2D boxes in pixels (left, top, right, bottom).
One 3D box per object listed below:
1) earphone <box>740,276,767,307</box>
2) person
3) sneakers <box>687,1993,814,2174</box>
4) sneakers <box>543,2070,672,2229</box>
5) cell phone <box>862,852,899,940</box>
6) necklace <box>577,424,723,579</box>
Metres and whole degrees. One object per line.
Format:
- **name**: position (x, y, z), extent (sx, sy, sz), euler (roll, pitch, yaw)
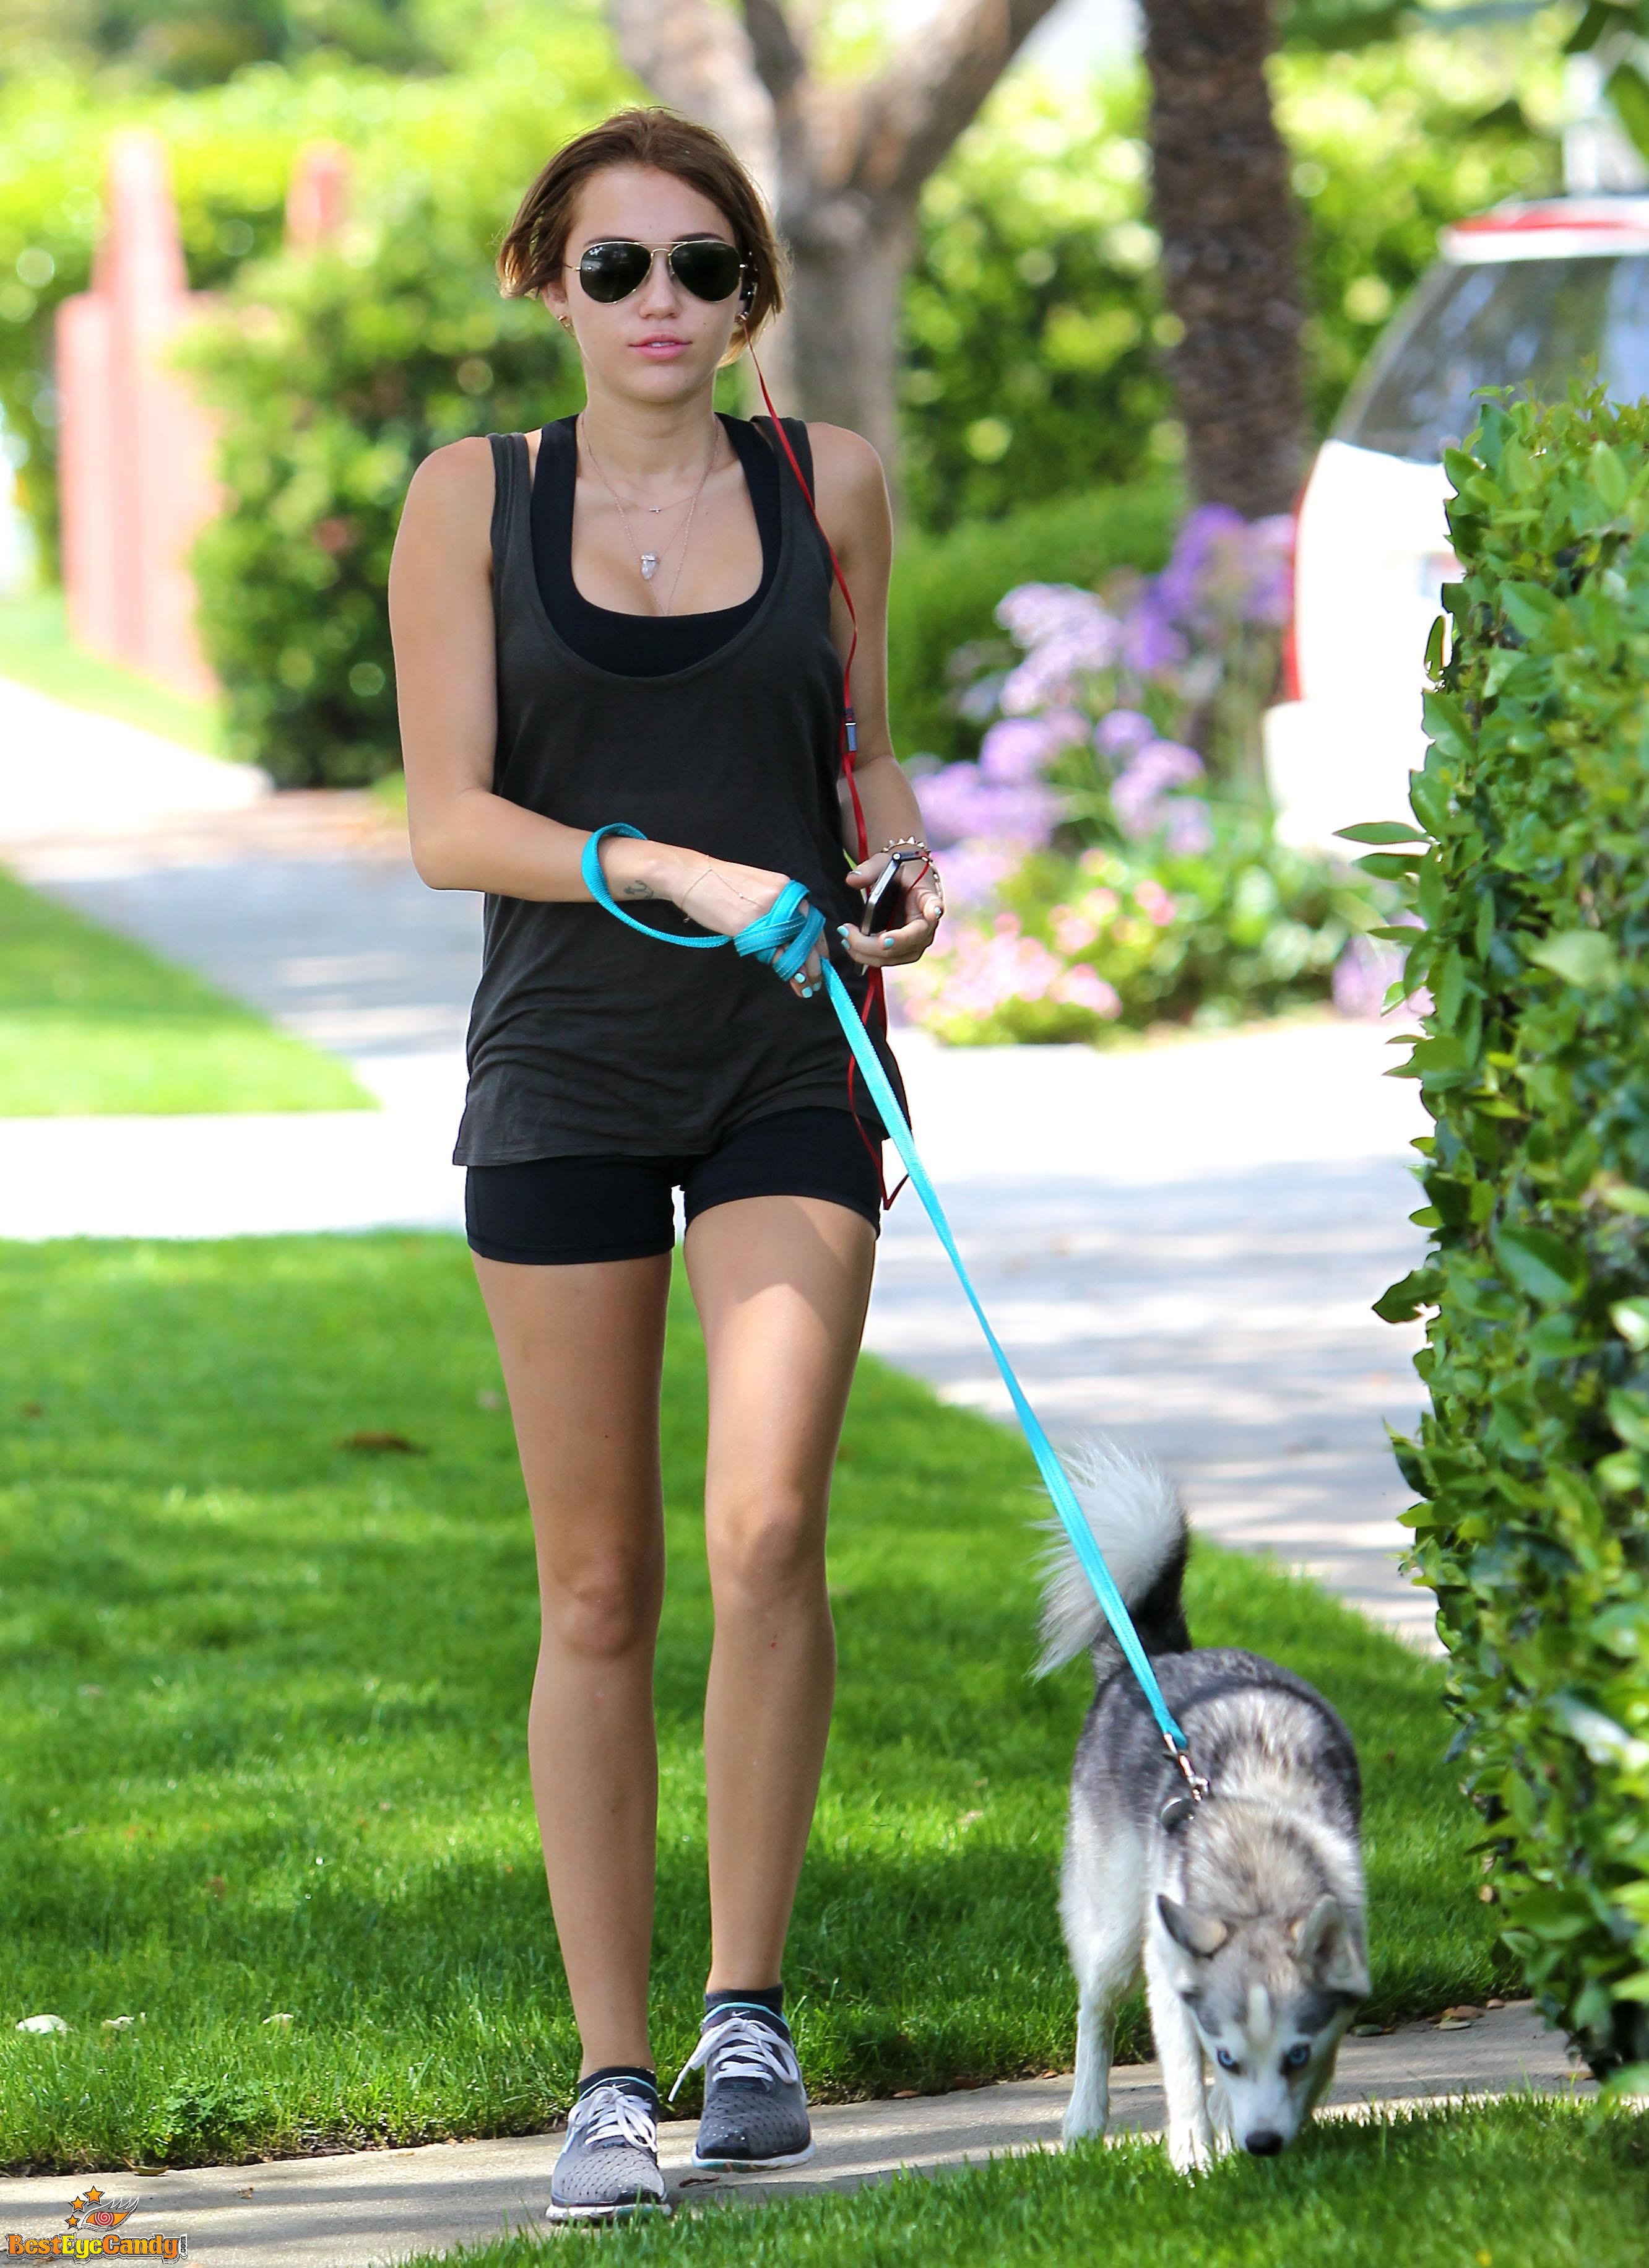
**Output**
- **earphone**: position (-0.086, -0.986, 3.970), extent (0.024, 0.027, 0.019), euler (-4, -4, 20)
- **person**: position (-0.154, 0.016, 3.779), extent (0.610, 2.330, 0.591), euler (-2, 6, -16)
- **sneakers**: position (-0.081, 1.054, 3.716), extent (0.097, 0.090, 0.245), euler (-4, 0, -5)
- **sneakers**: position (-0.238, 1.090, 3.656), extent (0.122, 0.146, 0.176), euler (0, 5, -4)
- **cell phone**: position (0.063, -0.265, 3.774), extent (0.025, 0.108, 0.030), euler (16, -35, 14)
- **necklace**: position (-0.200, -0.696, 3.763), extent (0.114, 0.172, 0.032), euler (-2, -21, -6)
